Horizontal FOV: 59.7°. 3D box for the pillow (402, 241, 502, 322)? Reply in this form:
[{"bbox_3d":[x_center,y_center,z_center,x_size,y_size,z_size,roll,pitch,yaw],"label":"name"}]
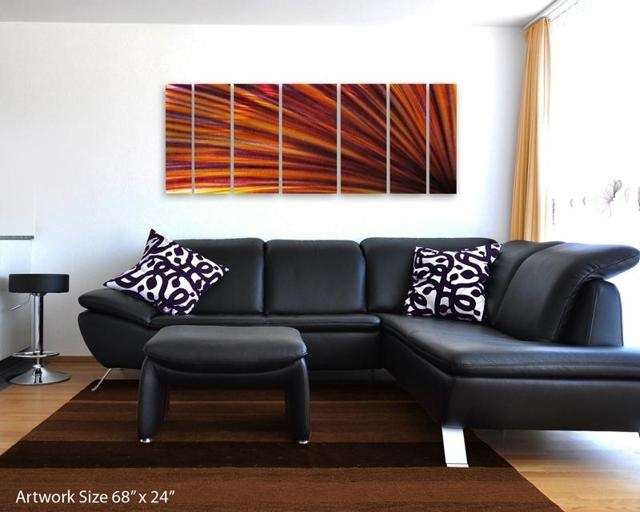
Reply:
[{"bbox_3d":[0.920,0.197,3.893,0.559,0.483,0.281,2,-3,25],"label":"pillow"}]

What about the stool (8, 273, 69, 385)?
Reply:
[{"bbox_3d":[-2.042,0.490,4.037,0.400,0.780,0.627,-3,9,-26],"label":"stool"}]
